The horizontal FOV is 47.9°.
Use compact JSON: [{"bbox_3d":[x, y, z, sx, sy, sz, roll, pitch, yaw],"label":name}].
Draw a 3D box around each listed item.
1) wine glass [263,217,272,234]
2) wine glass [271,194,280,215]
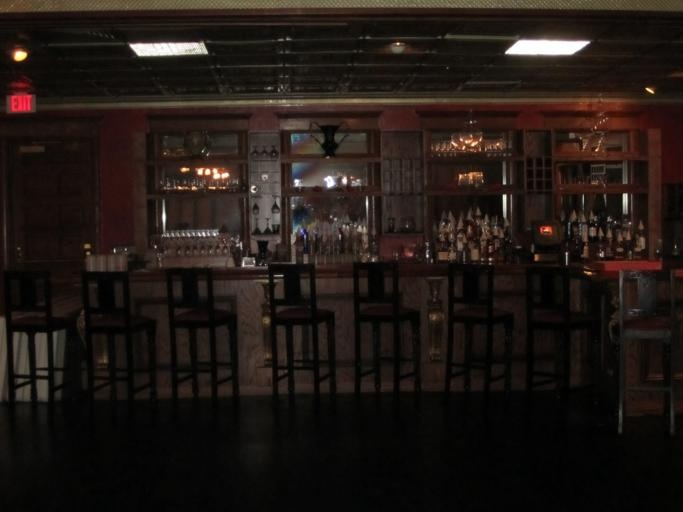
[{"bbox_3d":[-1.009,-0.410,10.458,0.164,0.245,0.168,1,-1,-2],"label":"wine glass"},{"bbox_3d":[-0.906,-0.698,10.423,0.110,0.183,0.102,-2,1,-8],"label":"wine glass"}]
